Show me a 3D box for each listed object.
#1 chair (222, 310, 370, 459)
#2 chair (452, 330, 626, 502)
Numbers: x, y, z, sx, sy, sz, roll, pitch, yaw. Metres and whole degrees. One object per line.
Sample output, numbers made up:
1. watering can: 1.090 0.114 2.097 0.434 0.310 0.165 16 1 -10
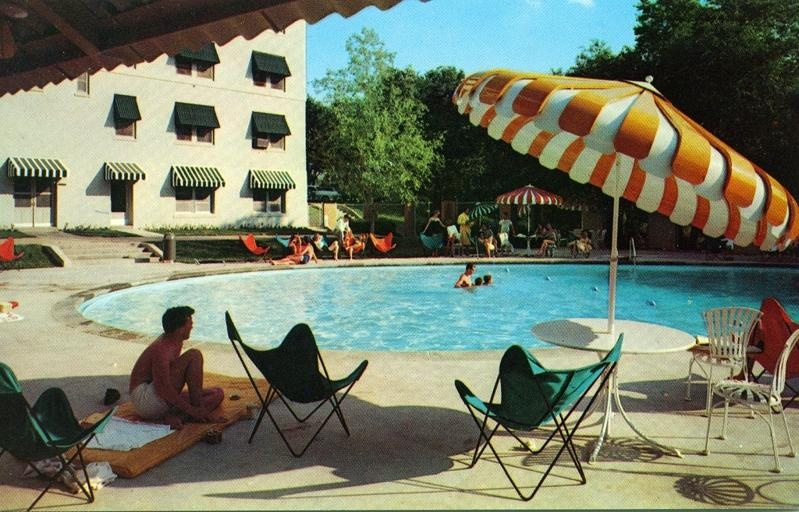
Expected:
1. chair: -1.788 2.168 14.054 2.025 2.877 2.427 0 1 30
2. chair: 2.427 2.405 13.229 2.612 2.570 2.155 -3 -5 45
